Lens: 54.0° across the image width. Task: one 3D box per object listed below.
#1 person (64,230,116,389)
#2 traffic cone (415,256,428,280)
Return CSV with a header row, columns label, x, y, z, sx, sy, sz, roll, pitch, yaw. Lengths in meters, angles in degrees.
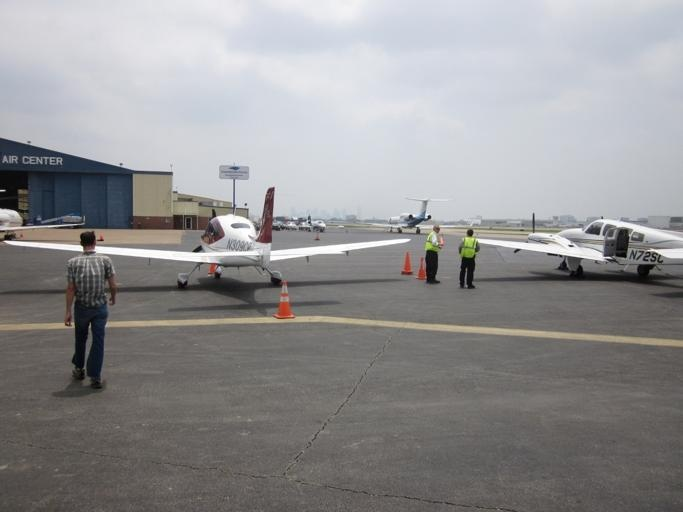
label,x,y,z,sx,sy,sz,roll,pitch,yaw
person,-3.289,0.722,8.803,0.654,1.993,0.895,-5,15,-20
traffic cone,2.334,0.437,20.356,0.607,0.764,0.592,1,-3,-2
